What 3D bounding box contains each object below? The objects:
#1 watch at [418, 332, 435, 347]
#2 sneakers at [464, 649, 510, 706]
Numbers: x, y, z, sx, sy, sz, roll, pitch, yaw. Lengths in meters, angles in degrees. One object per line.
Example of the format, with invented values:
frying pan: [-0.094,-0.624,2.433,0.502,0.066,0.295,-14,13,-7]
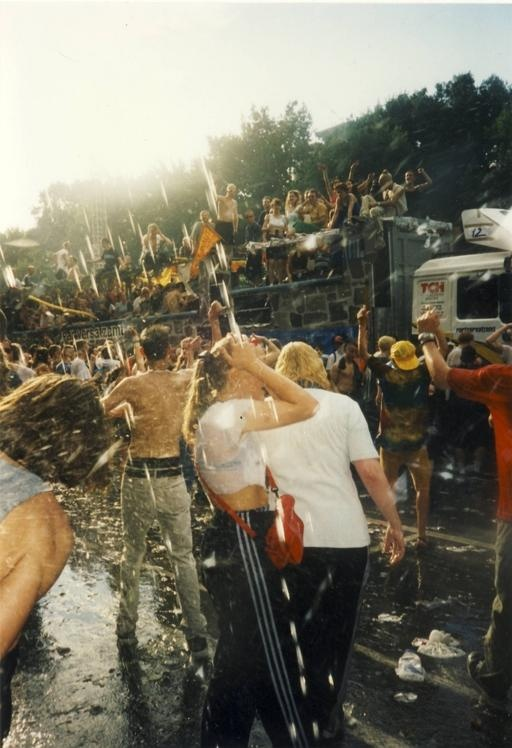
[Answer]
watch: [0.844,-0.176,2.814,0.069,0.072,0.022,10,-20,-42]
sneakers: [1.075,1.424,2.619,0.059,0.181,0.132,-27,-23,34]
